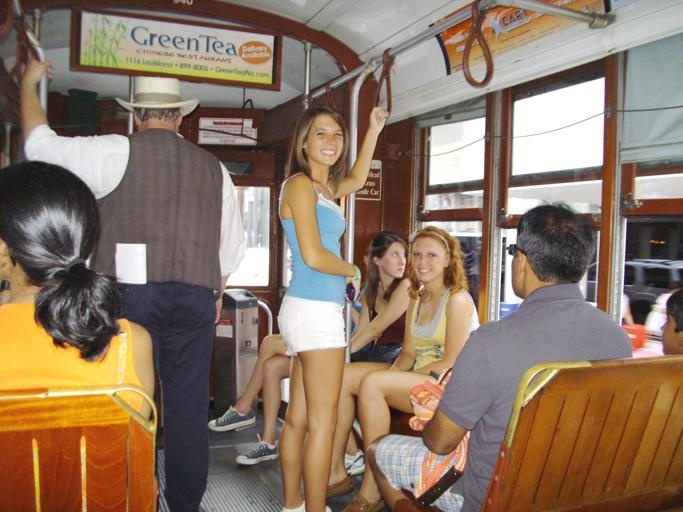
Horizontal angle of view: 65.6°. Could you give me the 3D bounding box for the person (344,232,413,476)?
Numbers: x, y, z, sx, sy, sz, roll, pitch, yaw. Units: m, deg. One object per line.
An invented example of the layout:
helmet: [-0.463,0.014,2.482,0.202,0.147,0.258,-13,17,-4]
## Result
person: [0.228,0.662,3.770,0.516,1.635,0.877,8,10,11]

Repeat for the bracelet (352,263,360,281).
bracelet: [0.076,0.081,2.573,0.043,0.060,0.061,-3,-7,-16]

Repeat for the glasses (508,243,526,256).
glasses: [0.658,-0.020,2.018,0.040,0.043,0.017,-2,19,38]

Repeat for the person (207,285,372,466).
person: [-0.439,0.641,3.540,0.861,1.463,0.519,-3,24,-12]

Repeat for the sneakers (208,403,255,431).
sneakers: [-0.804,1.217,3.982,0.420,0.193,0.153,3,-2,-19]

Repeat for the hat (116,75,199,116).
hat: [-0.909,-0.795,2.713,0.273,0.109,0.300,1,7,5]
